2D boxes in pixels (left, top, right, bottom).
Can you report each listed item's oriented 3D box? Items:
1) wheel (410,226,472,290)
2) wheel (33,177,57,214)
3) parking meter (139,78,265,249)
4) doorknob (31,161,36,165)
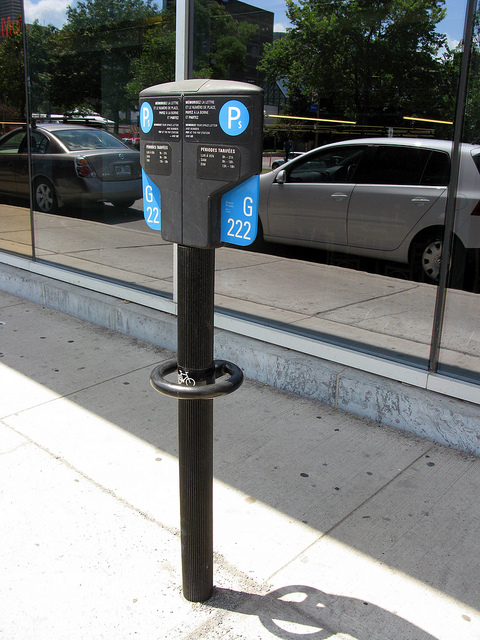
[{"bbox_3d":[1.072,-0.333,2.866,0.228,0.314,0.256,8,18,36],"label":"wheel"},{"bbox_3d":[-1.964,-1.242,5.445,0.086,0.341,0.417,-11,18,-39],"label":"wheel"},{"bbox_3d":[-0.108,-0.374,1.308,0.084,0.390,0.449,-10,17,-36],"label":"parking meter"},{"bbox_3d":[-2.080,-1.575,5.460,0.042,0.039,0.072,-2,1,-18],"label":"doorknob"}]
